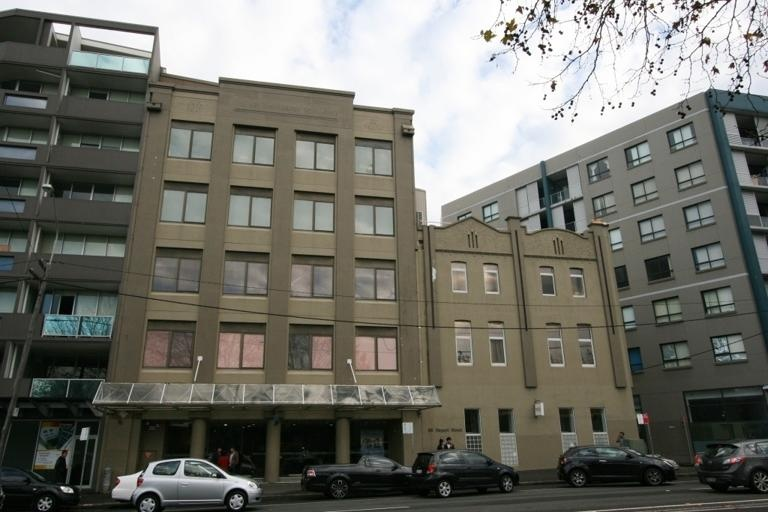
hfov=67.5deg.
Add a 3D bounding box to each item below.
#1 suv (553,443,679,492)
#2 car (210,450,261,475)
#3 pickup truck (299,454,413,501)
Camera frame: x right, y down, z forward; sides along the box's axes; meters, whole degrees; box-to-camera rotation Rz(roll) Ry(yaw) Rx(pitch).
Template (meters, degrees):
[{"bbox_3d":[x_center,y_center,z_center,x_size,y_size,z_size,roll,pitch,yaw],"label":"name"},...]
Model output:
[{"bbox_3d":[12.744,11.734,32.127,5.709,1.942,2.601,-3,-12,2],"label":"suv"},{"bbox_3d":[-9.189,12.885,34.980,3.273,1.700,1.913,5,-14,-13],"label":"car"},{"bbox_3d":[-1.505,11.769,30.935,5.729,1.851,2.407,3,-18,-17],"label":"pickup truck"}]
